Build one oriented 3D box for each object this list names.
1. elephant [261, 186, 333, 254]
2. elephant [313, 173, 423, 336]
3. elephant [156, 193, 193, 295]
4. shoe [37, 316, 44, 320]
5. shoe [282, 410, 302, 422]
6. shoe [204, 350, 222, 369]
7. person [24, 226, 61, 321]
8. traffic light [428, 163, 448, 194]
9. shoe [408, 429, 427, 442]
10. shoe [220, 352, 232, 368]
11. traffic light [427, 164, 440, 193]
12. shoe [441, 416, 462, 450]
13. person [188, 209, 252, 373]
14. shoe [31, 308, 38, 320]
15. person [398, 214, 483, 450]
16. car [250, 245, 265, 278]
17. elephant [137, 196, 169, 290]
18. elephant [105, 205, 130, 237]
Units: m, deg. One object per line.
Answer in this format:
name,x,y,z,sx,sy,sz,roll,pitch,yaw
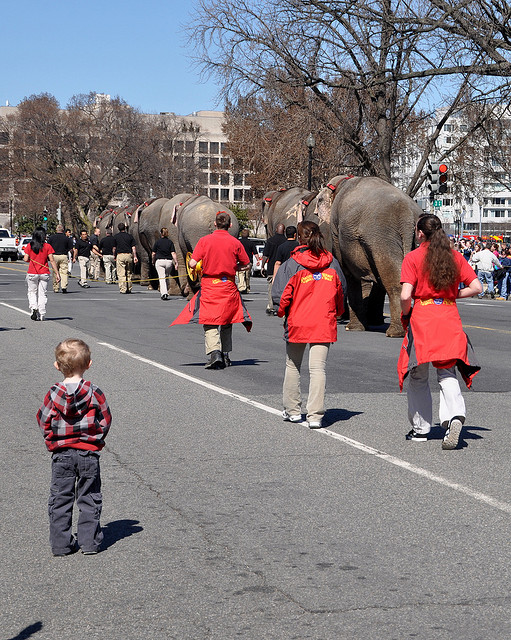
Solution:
elephant,1.110,-2.373,22.070,1.072,1.482,2.776,-3,15,-13
elephant,1.984,-1.174,17.716,1.479,2.765,4.041,-5,6,-12
elephant,-2.394,-2.521,27.881,1.310,2.054,2.730,-2,9,-9
shoe,-3.950,-0.024,18.097,0.070,0.073,0.017,-4,-4,11
shoe,0.285,0.798,8.199,0.219,0.074,0.128,5,7,33
shoe,-0.488,0.471,11.525,0.184,0.236,0.199,0,6,-13
person,-4.010,-0.847,18.349,0.501,1.696,1.211,0,6,-13
traffic light,4.067,-3.127,22.017,0.414,0.688,1.364,2,6,9
shoe,1.216,0.867,7.407,0.136,0.075,0.138,2,6,8
shoe,-0.342,0.491,11.774,0.065,0.145,0.201,2,7,5
traffic light,3.994,-3.128,22.036,0.252,0.639,0.695,2,6,10
shoe,1.387,0.791,6.951,0.096,0.271,0.122,13,6,5
person,-0.415,-0.311,11.532,0.742,1.829,1.011,1,6,-2
shoe,-4.039,-0.104,18.019,0.117,0.211,0.239,-1,6,-15
person,1.324,0.093,7.108,0.576,1.665,0.551,2,6,13
car,0.065,-2.563,45.714,0.818,0.738,1.510,1,8,0
elephant,-3.112,-2.562,32.220,1.561,2.634,3.617,-1,-5,-5
elephant,-5.340,-3.807,38.052,0.841,1.047,3.553,0,6,-8
